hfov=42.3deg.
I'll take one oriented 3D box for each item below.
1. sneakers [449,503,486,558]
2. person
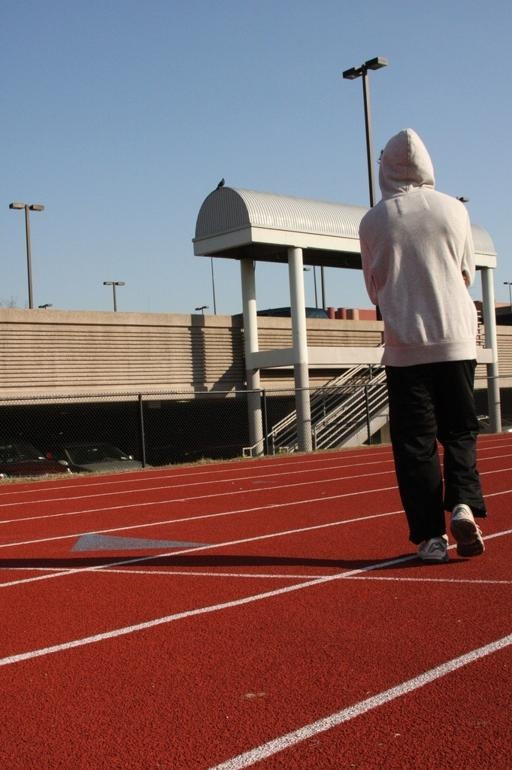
[{"bbox_3d":[1.102,0.754,3.445,0.141,0.175,0.370,-9,-44,15],"label":"sneakers"},{"bbox_3d":[0.913,-0.246,3.580,0.612,2.417,0.426,-4,-5,9],"label":"person"}]
